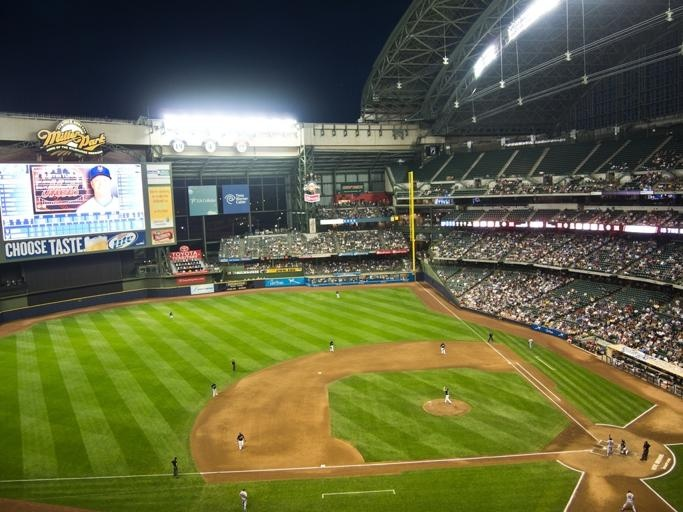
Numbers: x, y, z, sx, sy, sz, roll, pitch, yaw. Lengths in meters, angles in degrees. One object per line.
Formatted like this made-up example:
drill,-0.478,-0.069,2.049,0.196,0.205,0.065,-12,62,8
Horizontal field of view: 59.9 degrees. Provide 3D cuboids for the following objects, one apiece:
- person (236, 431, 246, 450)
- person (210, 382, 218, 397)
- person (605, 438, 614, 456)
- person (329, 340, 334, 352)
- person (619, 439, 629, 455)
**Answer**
person,-6.599,12.136,39.299,0.556,1.024,1.179,-4,12,-11
person,-9.661,10.115,45.163,0.465,0.960,1.331,-4,12,-13
person,17.148,11.965,37.598,0.438,1.002,1.276,4,12,24
person,-0.832,8.149,53.128,0.756,0.998,0.401,3,30,10
person,18.035,12.040,37.549,0.554,0.852,1.122,4,12,25
